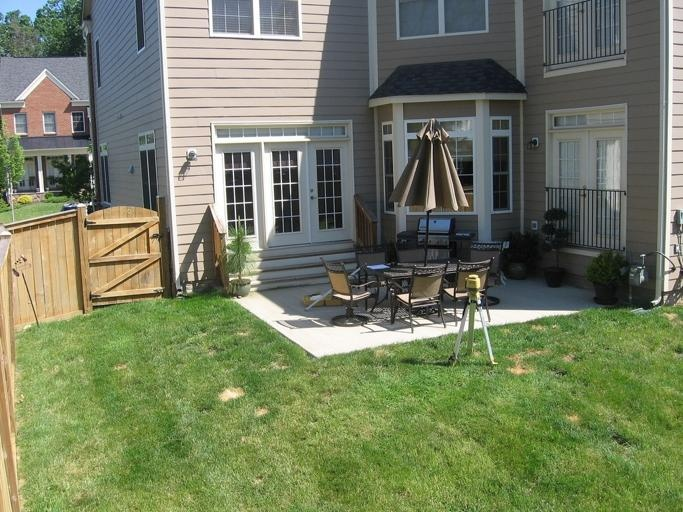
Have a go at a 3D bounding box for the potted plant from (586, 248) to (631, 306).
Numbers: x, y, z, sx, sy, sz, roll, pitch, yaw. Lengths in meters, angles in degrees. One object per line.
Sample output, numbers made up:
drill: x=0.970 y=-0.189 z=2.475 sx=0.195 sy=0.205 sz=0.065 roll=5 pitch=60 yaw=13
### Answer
potted plant: x=5.185 y=0.299 z=11.833 sx=0.918 sy=1.391 sz=0.860 roll=6 pitch=8 yaw=36

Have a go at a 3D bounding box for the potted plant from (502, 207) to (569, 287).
potted plant: x=4.393 y=-0.148 z=13.387 sx=1.279 sy=1.798 sz=0.904 roll=5 pitch=12 yaw=29

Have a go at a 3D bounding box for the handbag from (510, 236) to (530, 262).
handbag: x=4.130 y=-0.173 z=13.831 sx=0.434 sy=0.735 sz=0.465 roll=1 pitch=-3 yaw=-28

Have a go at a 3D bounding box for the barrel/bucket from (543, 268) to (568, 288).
barrel/bucket: x=4.622 y=0.427 z=12.844 sx=0.381 sy=0.360 sz=0.425 roll=0 pitch=3 yaw=2

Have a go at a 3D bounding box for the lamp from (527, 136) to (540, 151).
lamp: x=4.432 y=-2.619 z=13.708 sx=0.124 sy=0.308 sz=0.304 roll=-7 pitch=15 yaw=-21
